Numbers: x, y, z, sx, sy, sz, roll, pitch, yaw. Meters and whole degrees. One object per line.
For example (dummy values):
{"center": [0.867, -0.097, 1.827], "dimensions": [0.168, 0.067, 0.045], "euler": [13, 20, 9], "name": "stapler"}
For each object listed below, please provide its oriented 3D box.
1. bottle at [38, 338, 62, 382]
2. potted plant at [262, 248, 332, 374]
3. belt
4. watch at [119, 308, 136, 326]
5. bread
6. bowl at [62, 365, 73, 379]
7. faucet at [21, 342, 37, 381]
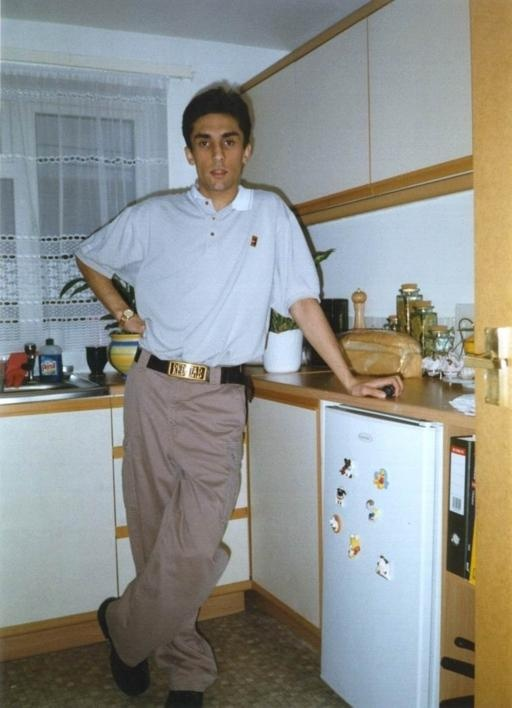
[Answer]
{"center": [-0.783, 0.035, 2.254], "dimensions": [0.079, 0.139, 0.069], "euler": [-3, 8, -25], "name": "bottle"}
{"center": [0.095, -0.111, 2.139], "dimensions": [0.314, 0.417, 0.178], "euler": [0, 17, -4], "name": "potted plant"}
{"center": [-0.173, 0.063, 1.676], "dimensions": [0.334, 0.163, 0.161], "euler": [-2, 7, -12], "name": "belt"}
{"center": [-0.383, -0.113, 1.748], "dimensions": [0.034, 0.053, 0.049], "euler": [33, -29, 2], "name": "watch"}
{"center": [0.392, -0.001, 1.879], "dimensions": [0.120, 0.107, 0.214], "euler": [-6, 9, -34], "name": "bread"}
{"center": [-0.810, 0.076, 2.526], "dimensions": [0.057, 0.054, 0.057], "euler": [1, 0, 0], "name": "bowl"}
{"center": [-0.881, 0.031, 2.307], "dimensions": [0.047, 0.135, 0.182], "euler": [-3, 8, -19], "name": "faucet"}
